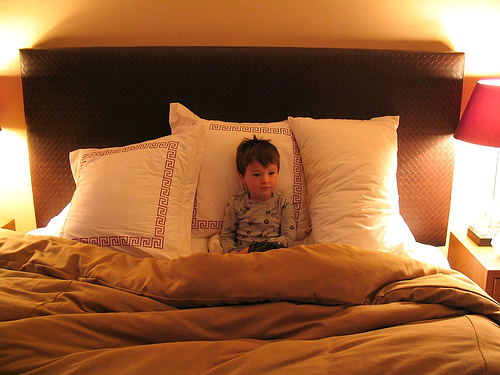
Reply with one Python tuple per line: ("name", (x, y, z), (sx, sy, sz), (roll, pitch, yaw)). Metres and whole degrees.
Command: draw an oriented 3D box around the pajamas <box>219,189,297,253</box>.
("pajamas", (0.042, 0.159, 1.984), (0.286, 0.305, 0.259), (1, 21, -3))
